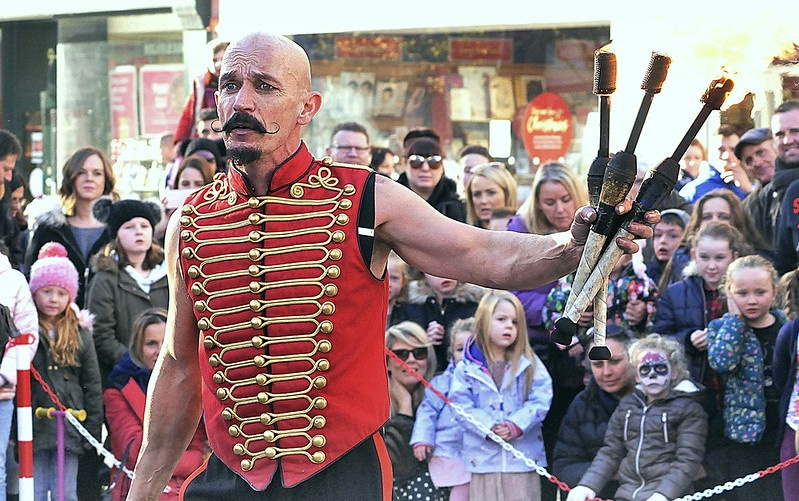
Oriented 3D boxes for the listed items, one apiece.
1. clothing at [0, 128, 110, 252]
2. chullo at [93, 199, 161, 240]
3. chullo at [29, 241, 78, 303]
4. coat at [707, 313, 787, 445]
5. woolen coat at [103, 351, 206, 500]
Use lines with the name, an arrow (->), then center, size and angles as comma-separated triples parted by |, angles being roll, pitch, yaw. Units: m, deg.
clothing -> -3.003, -0.559, 14.686 | 1.138, 1.028, 0.415 | 3, -16, 1
chullo -> -2.414, -0.287, 14.714 | 0.679, 0.287, 0.361 | -1, -9, -17
chullo -> -2.970, 0.176, 14.231 | 0.550, 0.469, 0.571 | -7, 11, -12
coat -> 2.772, 1.045, 13.401 | 0.734, 0.924, 0.379 | -13, -6, 25
woolen coat -> -2.104, 1.492, 14.075 | 1.216, 1.109, 0.521 | 0, -3, 2
